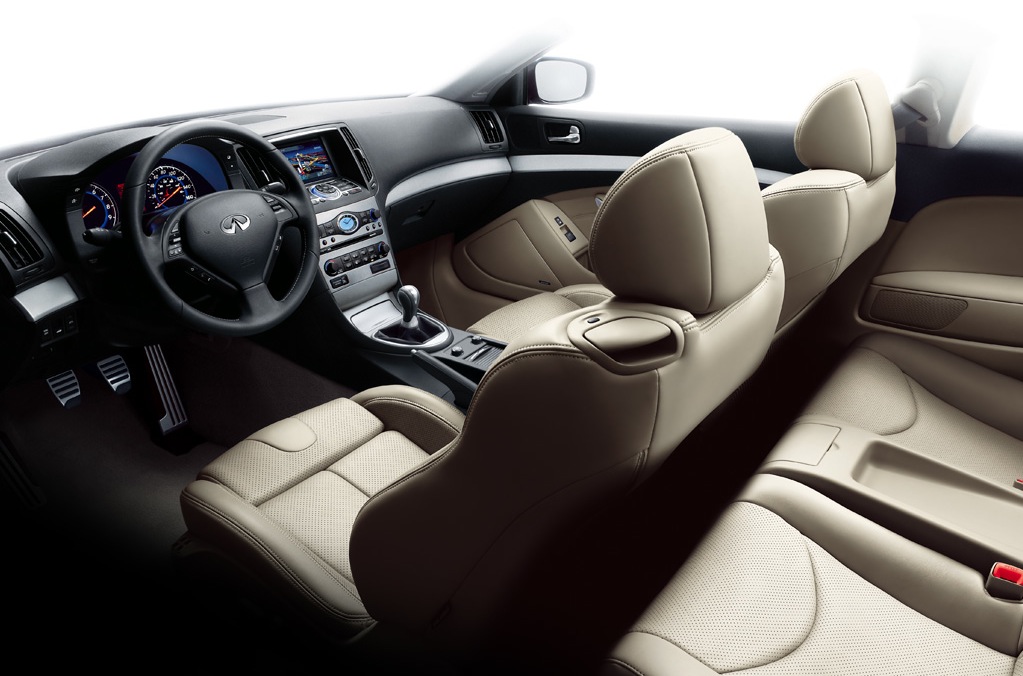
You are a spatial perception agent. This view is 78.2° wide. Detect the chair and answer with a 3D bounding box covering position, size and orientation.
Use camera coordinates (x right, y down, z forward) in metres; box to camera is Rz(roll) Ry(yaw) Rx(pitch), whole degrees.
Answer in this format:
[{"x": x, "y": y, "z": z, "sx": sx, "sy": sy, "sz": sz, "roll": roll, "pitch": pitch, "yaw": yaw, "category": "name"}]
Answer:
[{"x": 0.225, "y": 0.100, "z": 1.606, "sx": 1.061, "sy": 0.582, "sz": 1.302, "roll": 25, "pitch": 32, "yaw": 29, "category": "chair"}]
